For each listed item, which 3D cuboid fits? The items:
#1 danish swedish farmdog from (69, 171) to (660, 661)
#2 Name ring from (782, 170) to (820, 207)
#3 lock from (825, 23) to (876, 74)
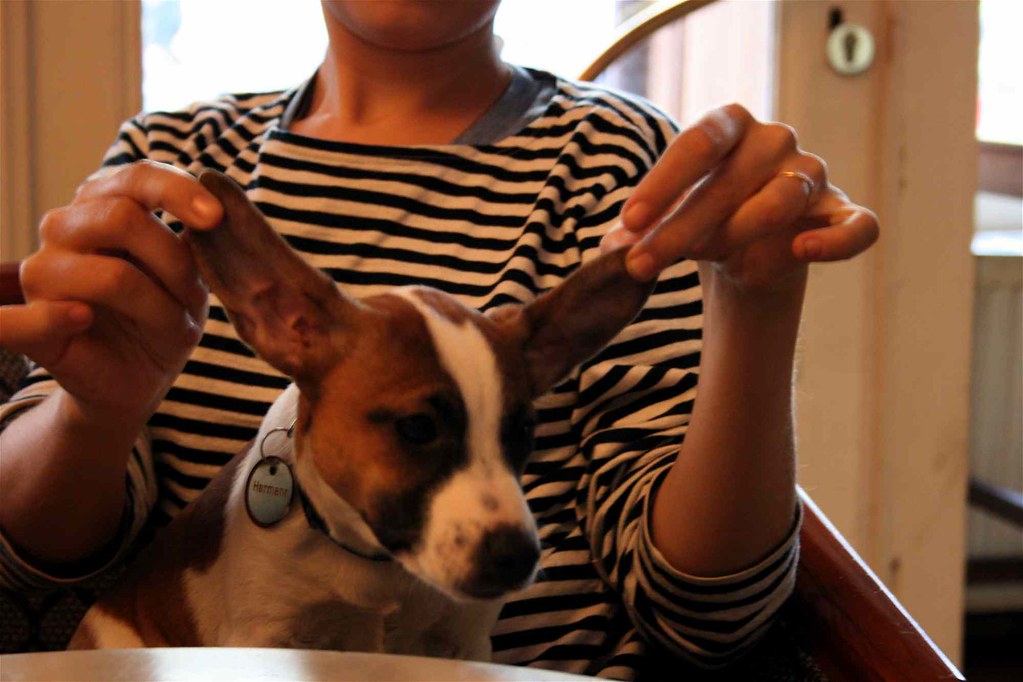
[{"bbox_3d":[-0.159,0.226,1.797,0.534,0.772,0.879,18,-21,-33],"label":"danish swedish farmdog"},{"bbox_3d":[0.390,-0.209,1.493,0.038,0.018,0.045,33,6,-30],"label":"Name ring"},{"bbox_3d":[0.766,-0.660,2.493,0.130,0.136,0.046,-4,-8,35],"label":"lock"}]
